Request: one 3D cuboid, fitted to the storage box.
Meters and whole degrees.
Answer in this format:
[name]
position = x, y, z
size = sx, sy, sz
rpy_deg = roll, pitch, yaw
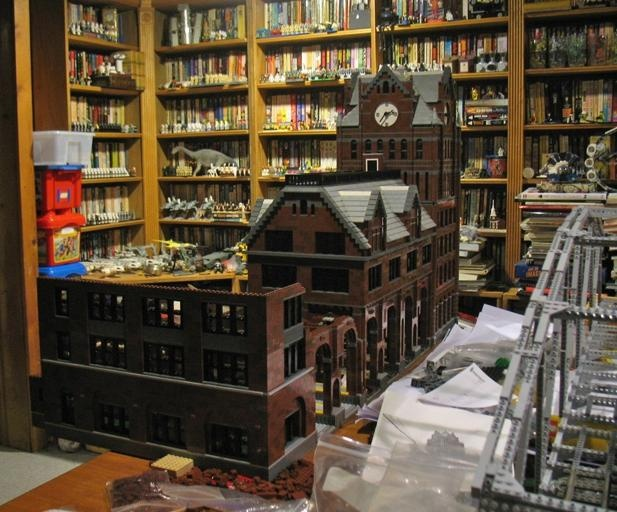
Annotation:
[storage box]
position = -1.832, -0.397, 5.299
size = 0.457, 1.064, 0.915
rpy_deg = -5, 11, -15
